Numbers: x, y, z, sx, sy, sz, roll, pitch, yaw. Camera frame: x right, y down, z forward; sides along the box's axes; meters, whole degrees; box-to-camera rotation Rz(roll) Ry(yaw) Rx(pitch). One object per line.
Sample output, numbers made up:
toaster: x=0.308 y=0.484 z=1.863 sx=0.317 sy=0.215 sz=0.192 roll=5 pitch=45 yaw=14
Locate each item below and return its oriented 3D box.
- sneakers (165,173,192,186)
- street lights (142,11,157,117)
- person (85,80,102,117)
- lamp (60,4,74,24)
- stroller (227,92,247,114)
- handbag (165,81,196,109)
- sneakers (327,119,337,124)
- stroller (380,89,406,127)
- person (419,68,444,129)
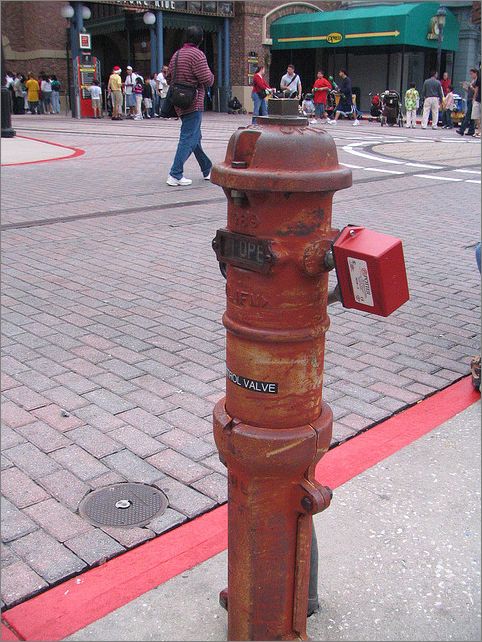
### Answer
sneakers: x=-1.008 y=-2.297 z=9.738 sx=0.453 sy=0.211 sz=0.164 roll=-9 pitch=24 yaw=-27
street lights: x=-4.320 y=-13.179 z=29.581 sx=0.699 sy=3.746 sz=0.636 roll=-11 pitch=24 yaw=-20
person: x=-6.179 y=-9.483 z=25.511 sx=0.474 sy=1.492 sz=1.145 roll=-5 pitch=16 yaw=-12
lamp: x=-7.518 y=-13.629 z=26.267 sx=0.537 sy=0.575 sz=1.028 roll=-5 pitch=16 yaw=-14
stroller: x=-0.211 y=-11.382 z=31.603 sx=0.989 sy=0.991 sz=0.723 roll=-17 pitch=44 yaw=-21
handbag: x=-0.849 y=-3.257 z=8.627 sx=0.368 sy=0.363 sz=0.196 roll=8 pitch=16 yaw=1
sneakers: x=3.629 y=-8.042 z=24.168 sx=0.177 sy=0.190 sz=0.442 roll=0 pitch=19 yaw=-5
stroller: x=5.897 y=-8.643 z=23.667 sx=0.870 sy=1.584 sz=1.580 roll=4 pitch=48 yaw=13
person: x=7.246 y=-8.450 z=22.899 sx=0.704 sy=2.145 sz=0.642 roll=3 pitch=7 yaw=13
